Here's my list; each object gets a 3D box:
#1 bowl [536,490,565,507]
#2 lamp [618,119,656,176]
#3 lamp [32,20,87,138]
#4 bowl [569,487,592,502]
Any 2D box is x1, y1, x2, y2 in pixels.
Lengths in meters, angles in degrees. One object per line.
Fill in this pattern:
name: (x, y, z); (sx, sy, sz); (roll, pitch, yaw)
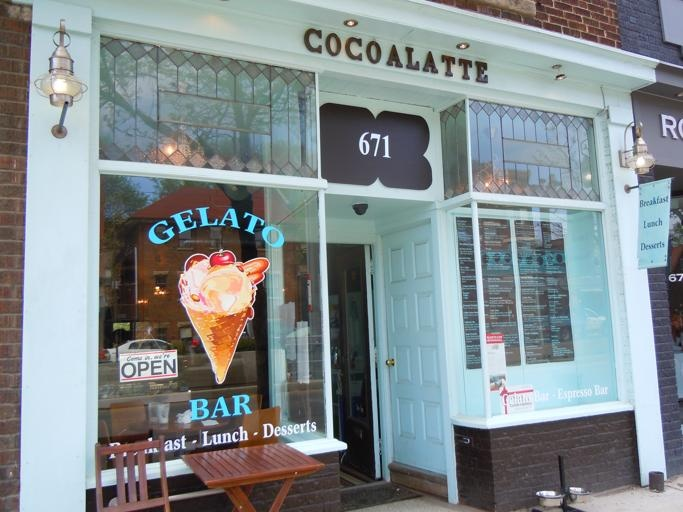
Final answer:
bowl: (2.138, 2.494, 6.448); (0.230, 0.189, 0.210); (-2, -5, 0)
lamp: (3.549, -1.317, 7.627); (0.351, 0.686, 0.661); (-5, -5, 24)
lamp: (-2.302, -1.492, 5.163); (0.402, 0.971, 0.489); (0, -6, -26)
bowl: (2.449, 2.440, 6.484); (0.182, 0.100, 0.147); (-2, -3, 10)
